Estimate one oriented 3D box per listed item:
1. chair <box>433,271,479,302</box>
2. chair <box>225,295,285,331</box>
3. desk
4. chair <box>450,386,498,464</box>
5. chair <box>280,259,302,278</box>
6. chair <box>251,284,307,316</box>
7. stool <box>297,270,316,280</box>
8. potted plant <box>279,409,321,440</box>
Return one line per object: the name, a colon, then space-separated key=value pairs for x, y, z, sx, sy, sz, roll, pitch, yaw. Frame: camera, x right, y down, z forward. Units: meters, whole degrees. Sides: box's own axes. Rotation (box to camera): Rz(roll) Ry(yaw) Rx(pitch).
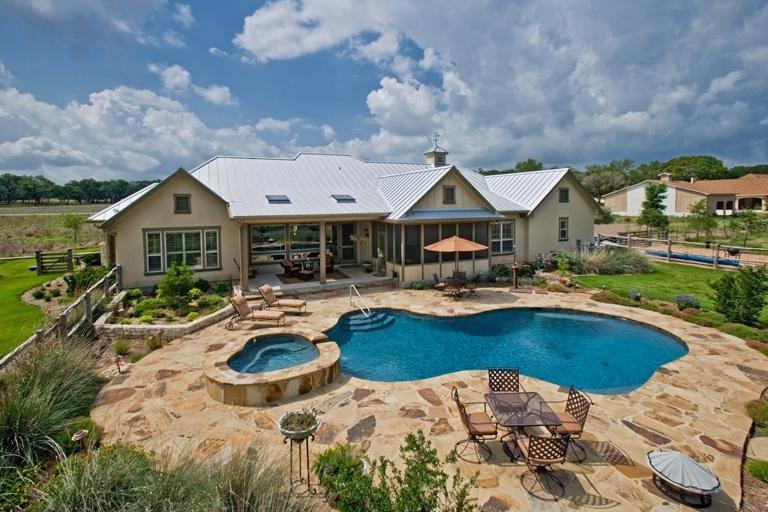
chair: x=4.126 y=1.780 z=24.007 sx=1.869 sy=0.797 sz=1.801 roll=-2 pitch=7 yaw=-12
chair: x=-5.852 y=2.556 z=18.866 sx=2.260 sy=1.194 sz=1.506 roll=1 pitch=4 yaw=4
desk: x=3.961 y=4.386 z=11.873 sx=1.334 sy=0.570 sz=1.938 roll=-2 pitch=9 yaw=-4
chair: x=2.669 y=4.886 z=12.203 sx=1.518 sy=1.678 sz=1.540 roll=-3 pitch=8 yaw=-41
chair: x=-5.820 y=0.794 z=26.933 sx=1.385 sy=1.241 sz=1.084 roll=2 pitch=8 yaw=26
chair: x=-5.076 y=2.161 z=20.783 sx=2.288 sy=1.283 sz=1.387 roll=2 pitch=5 yaw=2
stool: x=-4.875 y=1.179 z=25.922 sx=0.711 sy=0.414 sz=0.669 roll=-3 pitch=5 yaw=-37
potted plant: x=-2.242 y=4.450 z=11.201 sx=0.945 sy=0.452 sz=0.923 roll=1 pitch=5 yaw=1
